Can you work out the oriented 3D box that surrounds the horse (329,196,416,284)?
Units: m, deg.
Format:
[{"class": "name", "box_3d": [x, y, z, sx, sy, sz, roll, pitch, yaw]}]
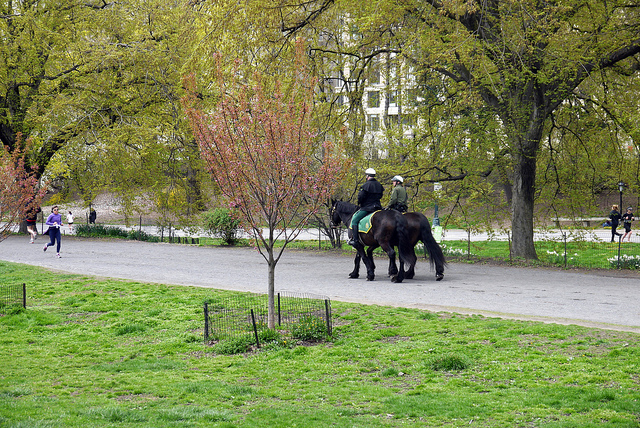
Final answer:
[{"class": "horse", "box_3d": [2.137, 1.077, 40.255, 1.277, 3.172, 4.715, -3, 2, -42]}]

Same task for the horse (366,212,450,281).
[{"class": "horse", "box_3d": [3.160, 1.054, 41.074, 1.282, 3.465, 6.076, 6, -8, -27]}]
